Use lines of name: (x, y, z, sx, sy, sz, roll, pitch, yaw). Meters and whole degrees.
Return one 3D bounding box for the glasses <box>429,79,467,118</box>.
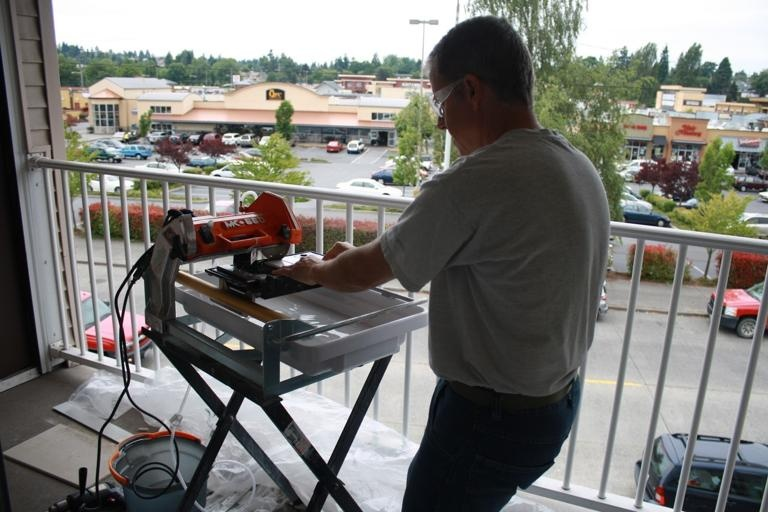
glasses: (0.249, -0.629, 2.339, 0.114, 0.036, 0.109, -41, 2, 7)
